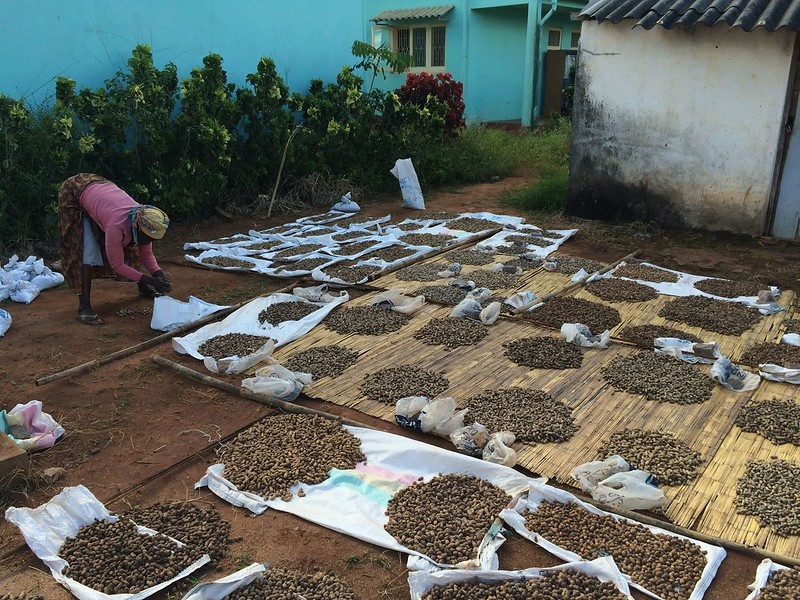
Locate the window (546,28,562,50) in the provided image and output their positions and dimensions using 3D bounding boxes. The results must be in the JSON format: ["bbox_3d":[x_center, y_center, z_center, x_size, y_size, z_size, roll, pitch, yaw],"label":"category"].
[{"bbox_3d":[4.653,-8.028,18.235,0.075,0.900,0.961,16,32,40],"label":"window"}]

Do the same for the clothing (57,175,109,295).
[{"bbox_3d":[-3.308,-0.728,6.235,0.314,1.022,0.640,20,23,29],"label":"clothing"}]

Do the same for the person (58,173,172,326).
[{"bbox_3d":[-2.907,-0.550,6.448,1.406,1.461,0.954,19,26,23],"label":"person"}]
